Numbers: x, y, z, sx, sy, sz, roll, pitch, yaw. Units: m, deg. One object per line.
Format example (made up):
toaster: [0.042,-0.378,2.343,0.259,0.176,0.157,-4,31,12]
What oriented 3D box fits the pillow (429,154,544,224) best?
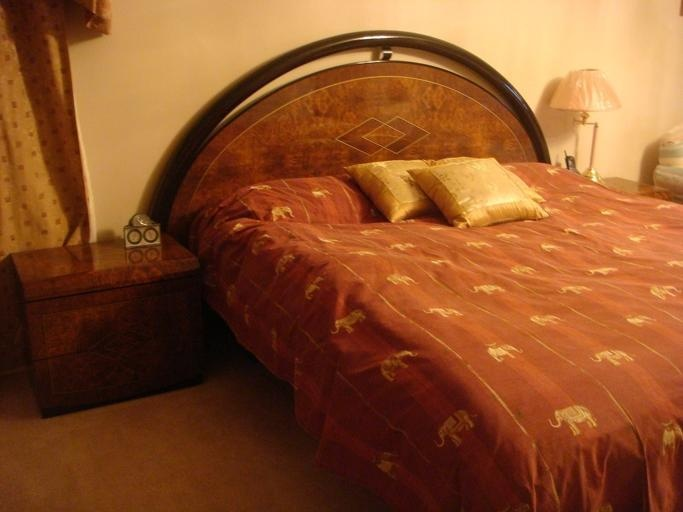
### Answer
pillow: [0.805,-0.307,2.651,0.472,0.119,0.427,-8,33,-15]

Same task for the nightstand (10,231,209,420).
nightstand: [-1.052,0.319,2.277,0.714,0.592,0.520,-9,15,-35]
